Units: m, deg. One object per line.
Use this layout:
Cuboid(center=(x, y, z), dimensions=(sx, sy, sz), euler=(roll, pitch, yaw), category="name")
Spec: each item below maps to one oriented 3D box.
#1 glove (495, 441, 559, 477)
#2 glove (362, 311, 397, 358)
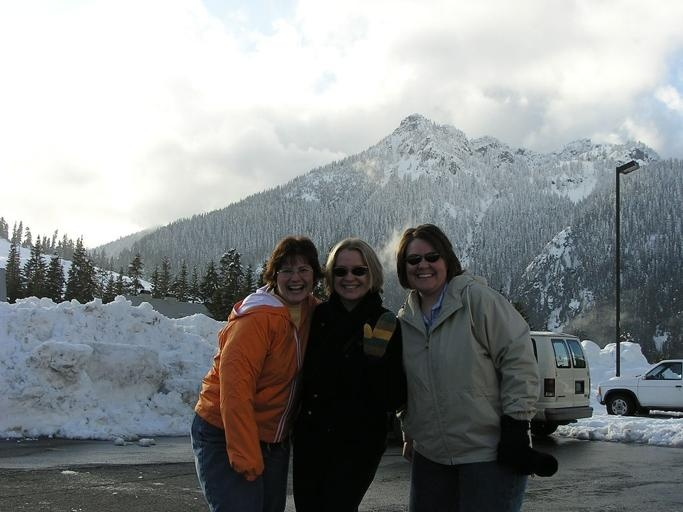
Cuboid(center=(1.653, 1.791, 6.378), dimensions=(0.267, 0.157, 0.372), euler=(5, -4, 25), category="glove")
Cuboid(center=(0.345, 0.708, 6.818), dimensions=(0.256, 0.430, 0.149), euler=(33, -9, -6), category="glove")
